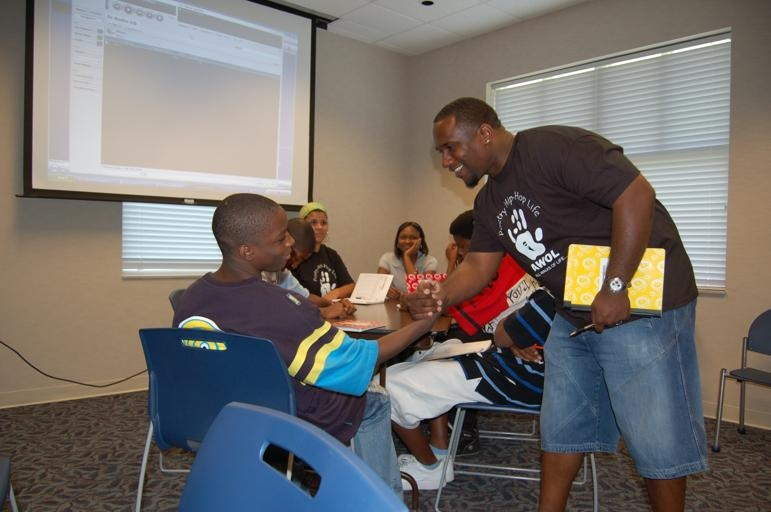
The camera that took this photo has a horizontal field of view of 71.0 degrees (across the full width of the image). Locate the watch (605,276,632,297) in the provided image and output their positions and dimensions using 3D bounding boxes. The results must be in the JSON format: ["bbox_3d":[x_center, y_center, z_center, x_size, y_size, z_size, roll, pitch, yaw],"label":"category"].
[{"bbox_3d":[0.991,0.124,2.309,0.092,0.065,0.090,-1,2,24],"label":"watch"}]

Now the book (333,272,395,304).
[{"bbox_3d":[-0.119,0.247,4.178,0.261,0.241,0.166,6,-14,28],"label":"book"}]

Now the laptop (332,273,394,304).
[{"bbox_3d":[-0.110,0.256,4.193,0.260,0.240,0.163,7,-14,28],"label":"laptop"}]

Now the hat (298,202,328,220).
[{"bbox_3d":[-0.670,-0.418,4.925,0.174,0.202,0.248,2,10,-2],"label":"hat"}]

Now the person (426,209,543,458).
[{"bbox_3d":[0.622,0.530,3.413,0.826,1.619,0.764,2,-12,21],"label":"person"}]

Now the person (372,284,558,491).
[{"bbox_3d":[0.490,0.586,3.308,0.878,1.664,0.638,5,9,6],"label":"person"}]

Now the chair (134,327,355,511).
[{"bbox_3d":[-0.683,0.718,2.691,0.654,0.919,0.664,2,0,10],"label":"chair"}]

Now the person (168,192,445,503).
[{"bbox_3d":[-0.415,0.559,2.937,1.196,1.774,1.040,-5,9,-13],"label":"person"}]

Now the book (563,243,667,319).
[{"bbox_3d":[1.005,0.107,2.381,0.404,0.291,0.137,4,12,19],"label":"book"}]

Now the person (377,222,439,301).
[{"bbox_3d":[0.196,0.084,5.134,0.536,0.800,0.761,2,4,5],"label":"person"}]

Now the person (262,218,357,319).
[{"bbox_3d":[-0.543,0.089,3.708,0.744,0.634,0.451,14,11,24],"label":"person"}]

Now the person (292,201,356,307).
[{"bbox_3d":[-0.553,0.011,4.509,0.594,0.929,0.636,-2,4,7],"label":"person"}]

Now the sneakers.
[{"bbox_3d":[0.316,1.294,3.357,0.532,0.256,0.214,3,-3,-5],"label":"sneakers"}]
